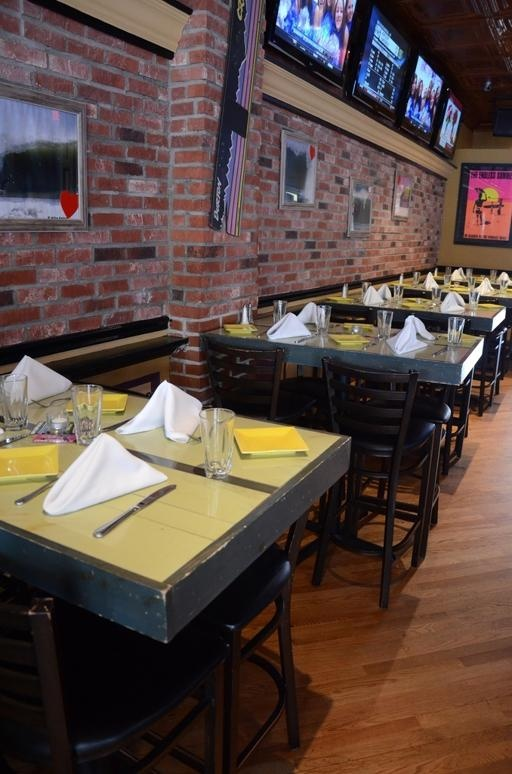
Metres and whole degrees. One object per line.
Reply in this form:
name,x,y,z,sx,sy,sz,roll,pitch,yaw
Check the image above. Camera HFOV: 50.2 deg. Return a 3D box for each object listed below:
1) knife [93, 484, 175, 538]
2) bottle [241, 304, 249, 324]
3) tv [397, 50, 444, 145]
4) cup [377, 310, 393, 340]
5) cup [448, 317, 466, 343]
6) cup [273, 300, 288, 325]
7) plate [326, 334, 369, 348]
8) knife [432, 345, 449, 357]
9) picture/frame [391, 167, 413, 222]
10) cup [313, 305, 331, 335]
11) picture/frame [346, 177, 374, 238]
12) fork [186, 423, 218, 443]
knife,-0.189,0.185,0.848,0.027,0.008,0.166,9,12,15
bottle,-0.056,-0.354,2.670,0.038,0.087,0.076,1,12,-2
tv,1.696,-3.058,5.723,0.144,1.260,0.919,8,17,27
cup,0.594,-0.291,2.548,0.059,0.120,0.123,4,12,10
cup,0.879,-0.253,2.421,0.051,0.116,0.170,7,13,24
cup,0.116,-0.384,2.810,0.060,0.106,0.140,1,12,0
plate,0.407,-0.199,2.388,0.170,0.027,0.248,2,12,3
knife,0.750,-0.146,2.241,0.029,0.028,0.100,31,30,31
picture/frame,1.615,-2.172,6.119,0.030,0.547,0.784,4,3,27
cup,0.315,-0.323,2.592,0.063,0.132,0.219,3,12,6
picture/frame,0.942,-1.592,4.954,0.047,0.483,0.764,6,13,23
fork,-0.108,0.092,1.089,0.038,0.059,0.059,15,-4,-3
